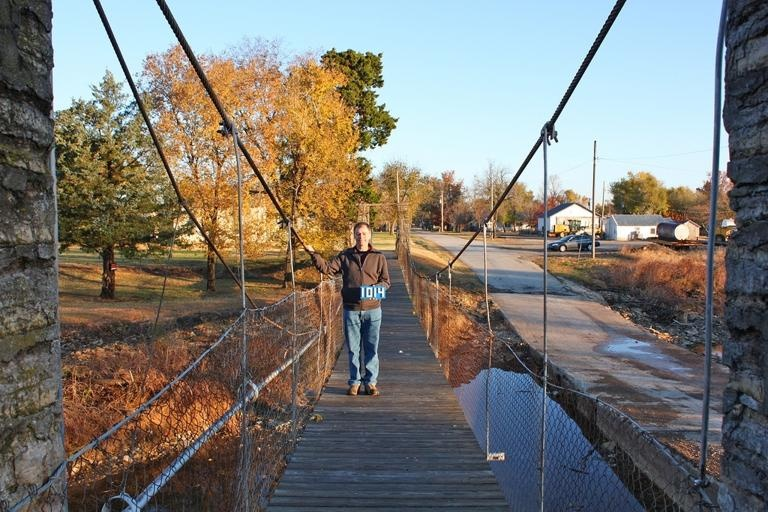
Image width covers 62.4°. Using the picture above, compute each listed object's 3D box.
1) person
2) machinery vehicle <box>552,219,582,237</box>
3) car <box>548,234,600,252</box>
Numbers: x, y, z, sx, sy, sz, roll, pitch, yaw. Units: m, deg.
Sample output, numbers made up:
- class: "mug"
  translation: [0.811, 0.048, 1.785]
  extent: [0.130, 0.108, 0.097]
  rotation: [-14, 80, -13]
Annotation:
- class: "person"
  translation: [-0.295, 0.555, 6.434]
  extent: [0.680, 1.780, 0.442]
  rotation: [1, 3, -2]
- class: "machinery vehicle"
  translation: [17.093, -2.603, 58.941]
  extent: [3.274, 2.048, 2.207]
  rotation: [-1, 2, -2]
- class: "car"
  translation: [11.601, -0.728, 38.398]
  extent: [2.783, 1.123, 1.363]
  rotation: [1, 0, -12]
